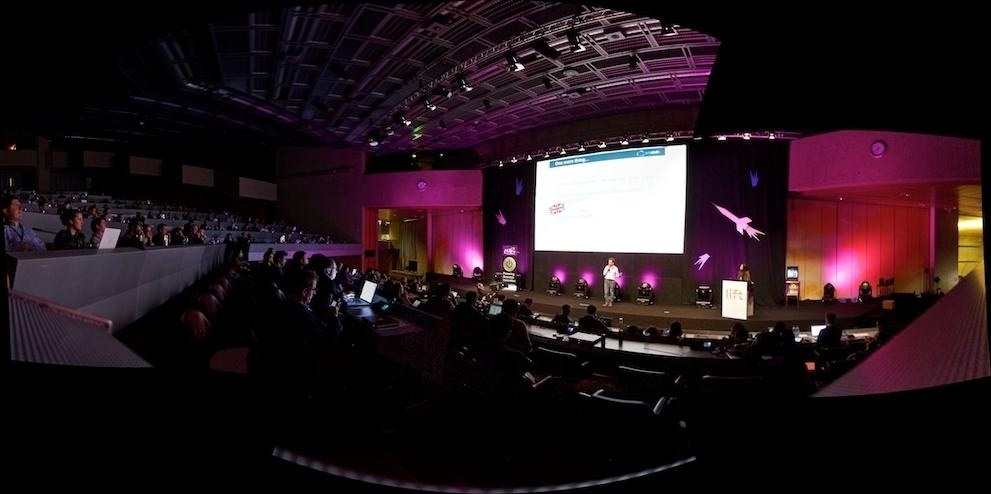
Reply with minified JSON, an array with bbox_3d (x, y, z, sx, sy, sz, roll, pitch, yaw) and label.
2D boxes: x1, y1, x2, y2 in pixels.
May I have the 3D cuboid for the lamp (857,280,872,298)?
[{"bbox_3d":[10.208,1.174,14.710,0.387,0.432,0.502,-3,-13,21],"label":"lamp"}]

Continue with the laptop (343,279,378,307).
[{"bbox_3d":[-2.456,0.857,10.018,0.490,0.309,0.579,-1,2,-31],"label":"laptop"}]

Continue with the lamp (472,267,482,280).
[{"bbox_3d":[-0.560,0.904,18.668,0.359,0.383,0.381,-1,0,4],"label":"lamp"}]

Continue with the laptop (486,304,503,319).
[{"bbox_3d":[-0.015,1.197,10.156,0.385,0.310,0.184,4,-32,11],"label":"laptop"}]

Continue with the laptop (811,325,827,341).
[{"bbox_3d":[6.214,1.633,10.319,0.363,0.249,0.342,4,-5,37],"label":"laptop"}]
